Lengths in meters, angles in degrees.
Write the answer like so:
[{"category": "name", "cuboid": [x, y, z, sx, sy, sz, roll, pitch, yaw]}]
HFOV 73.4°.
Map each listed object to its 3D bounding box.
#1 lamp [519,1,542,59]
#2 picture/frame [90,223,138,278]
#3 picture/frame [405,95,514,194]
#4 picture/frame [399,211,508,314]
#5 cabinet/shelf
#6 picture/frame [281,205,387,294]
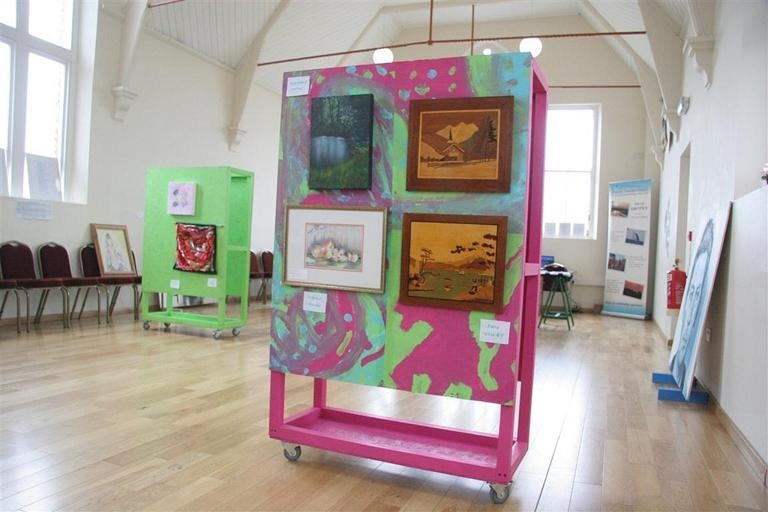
[{"category": "lamp", "cuboid": [2.437, -3.520, 8.547, 0.308, 0.733, 1.902, 4, 6, 13]}, {"category": "picture/frame", "cuboid": [-4.720, -0.089, 8.935, 0.088, 1.085, 0.891, -17, -3, 26]}, {"category": "picture/frame", "cuboid": [0.590, -0.822, 3.771, 0.731, 0.639, 0.057, 2, 1, 16]}, {"category": "picture/frame", "cuboid": [0.548, 0.038, 3.790, 0.732, 0.660, 0.053, 3, 4, 18]}, {"category": "cabinet/shelf", "cuboid": [-2.952, -0.126, 8.094, 1.558, 2.517, 0.799, 5, 7, 20]}, {"category": "picture/frame", "cuboid": [-0.356, -0.054, 4.069, 0.696, 0.521, 0.056, 3, 2, 22]}]
